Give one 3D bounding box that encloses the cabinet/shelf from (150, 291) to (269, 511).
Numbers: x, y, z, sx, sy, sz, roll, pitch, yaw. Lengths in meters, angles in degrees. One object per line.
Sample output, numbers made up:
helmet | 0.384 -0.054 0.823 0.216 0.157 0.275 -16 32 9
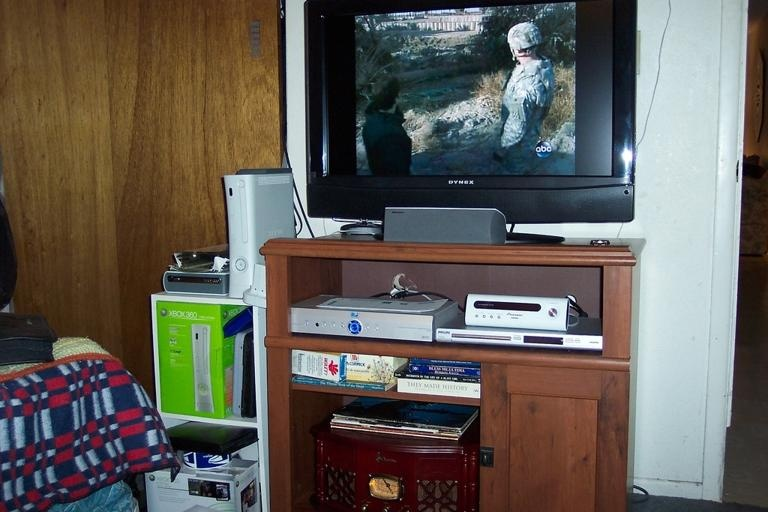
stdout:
cabinet/shelf | -0.667 0.542 2.699 0.515 0.865 0.142 3 7 16
